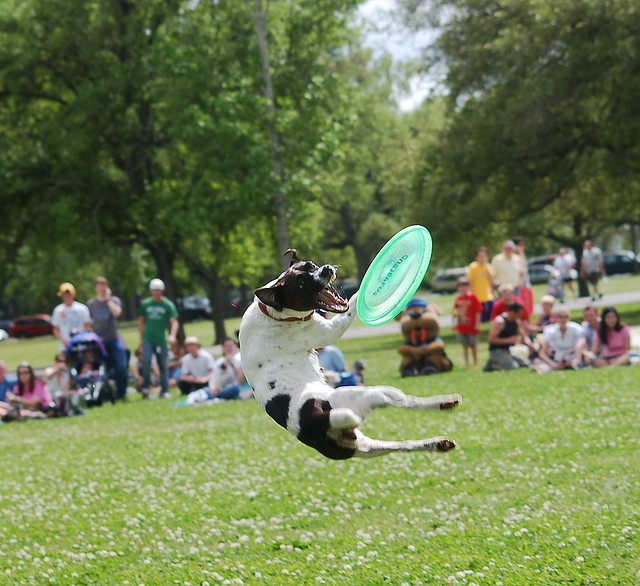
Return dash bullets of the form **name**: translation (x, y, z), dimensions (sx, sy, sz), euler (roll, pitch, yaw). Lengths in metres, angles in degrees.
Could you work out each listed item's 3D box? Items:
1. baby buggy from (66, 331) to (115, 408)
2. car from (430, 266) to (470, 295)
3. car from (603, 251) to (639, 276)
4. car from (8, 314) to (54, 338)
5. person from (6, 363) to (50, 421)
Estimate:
- **baby buggy**: translation (-4.208, 1.606, 27.528), dimensions (0.628, 1.047, 1.970), euler (-7, -2, 2)
- **car**: translation (5.252, -0.544, 63.913), dimensions (1.928, 0.881, 1.114), euler (-7, 5, 4)
- **car**: translation (11.035, -1.138, 56.630), dimensions (1.686, 0.787, 0.902), euler (3, 7, 7)
- **car**: translation (-10.508, 1.208, 55.598), dimensions (2.286, 0.747, 1.032), euler (-7, 3, -5)
- **person**: translation (-5.100, 1.803, 27.140), dimensions (0.427, 1.018, 0.620), euler (9, 13, 30)
